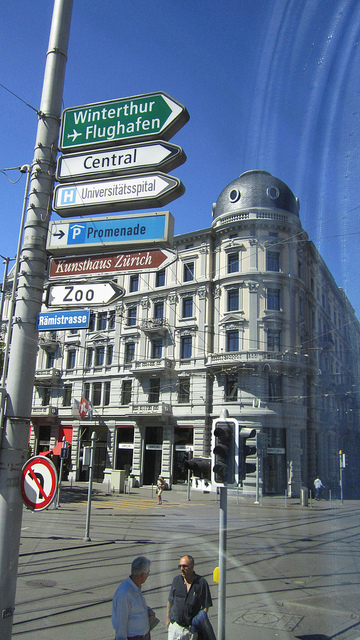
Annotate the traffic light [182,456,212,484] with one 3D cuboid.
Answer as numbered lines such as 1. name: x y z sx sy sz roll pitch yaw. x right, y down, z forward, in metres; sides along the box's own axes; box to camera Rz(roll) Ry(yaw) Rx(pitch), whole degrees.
1. traffic light: 0.234 1.928 6.910 0.363 0.307 0.382 2 -17 -2

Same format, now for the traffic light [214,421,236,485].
1. traffic light: 0.505 1.508 6.088 0.285 0.697 0.149 -6 -18 23

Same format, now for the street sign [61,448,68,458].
1. street sign: -5.164 5.918 23.827 0.226 0.421 0.300 8 -18 -22
